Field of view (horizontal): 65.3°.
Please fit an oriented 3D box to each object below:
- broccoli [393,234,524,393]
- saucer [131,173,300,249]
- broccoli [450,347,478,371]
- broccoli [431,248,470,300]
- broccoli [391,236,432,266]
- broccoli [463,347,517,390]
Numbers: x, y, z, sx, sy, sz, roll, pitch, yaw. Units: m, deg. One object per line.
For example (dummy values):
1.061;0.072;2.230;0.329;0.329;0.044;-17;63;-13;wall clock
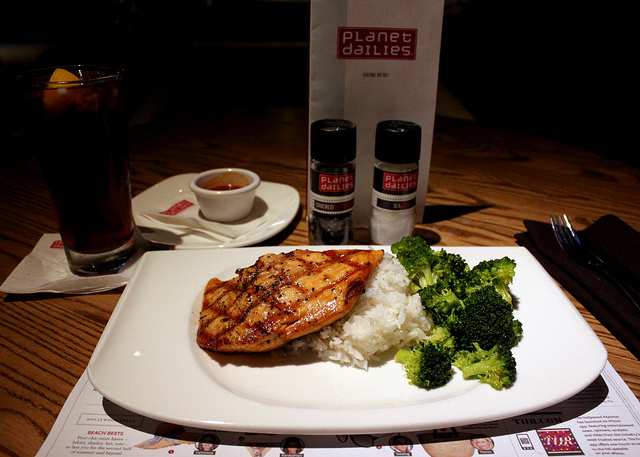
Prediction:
0.582;0.382;2.143;0.531;0.257;0.692;1;36;24;broccoli
-0.592;-0.146;2.804;0.534;0.084;0.592;19;30;34;saucer
0.591;0.529;2.039;0.080;0.020;0.078;13;54;39;broccoli
0.557;0.177;2.415;0.206;0.126;0.261;-13;-2;-23;broccoli
0.452;0.107;2.377;0.226;0.066;0.219;12;21;9;broccoli
0.657;0.555;1.931;0.172;0.106;0.123;-4;40;-5;broccoli
